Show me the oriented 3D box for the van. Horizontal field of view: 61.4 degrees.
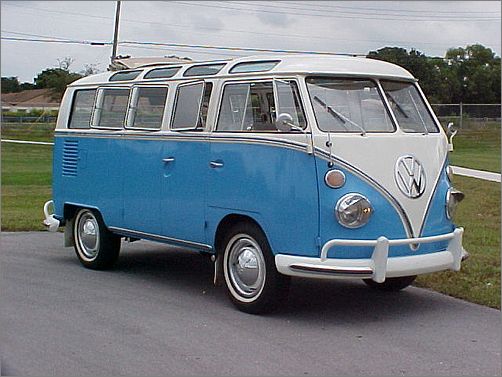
[{"bbox_3d":[-0.622,-0.349,7.270,3.391,2.996,6.817,0,0,-41],"label":"van"}]
